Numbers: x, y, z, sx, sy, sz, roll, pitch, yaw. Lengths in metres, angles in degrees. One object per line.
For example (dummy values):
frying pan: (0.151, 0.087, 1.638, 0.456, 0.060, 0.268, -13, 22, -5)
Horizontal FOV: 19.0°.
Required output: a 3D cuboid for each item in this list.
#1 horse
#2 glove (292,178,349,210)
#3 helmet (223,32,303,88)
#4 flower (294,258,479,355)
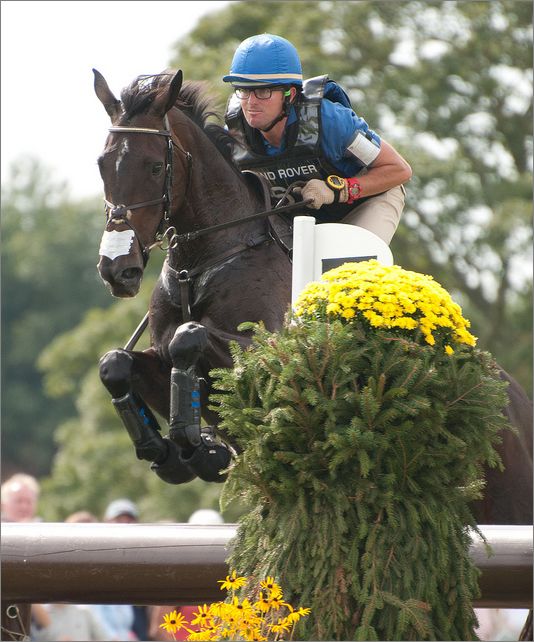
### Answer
horse: (0.168, -0.108, 7.788, 2.064, 2.437, 1.037, -9, -10, -9)
glove: (0.286, -0.623, 7.860, 0.245, 0.097, 0.136, -4, 57, -23)
helmet: (-0.030, -1.287, 7.947, 0.311, 0.168, 0.384, 1, 2, 39)
flower: (0.491, -0.057, 6.437, 0.545, 0.173, 0.481, 13, 3, 30)
